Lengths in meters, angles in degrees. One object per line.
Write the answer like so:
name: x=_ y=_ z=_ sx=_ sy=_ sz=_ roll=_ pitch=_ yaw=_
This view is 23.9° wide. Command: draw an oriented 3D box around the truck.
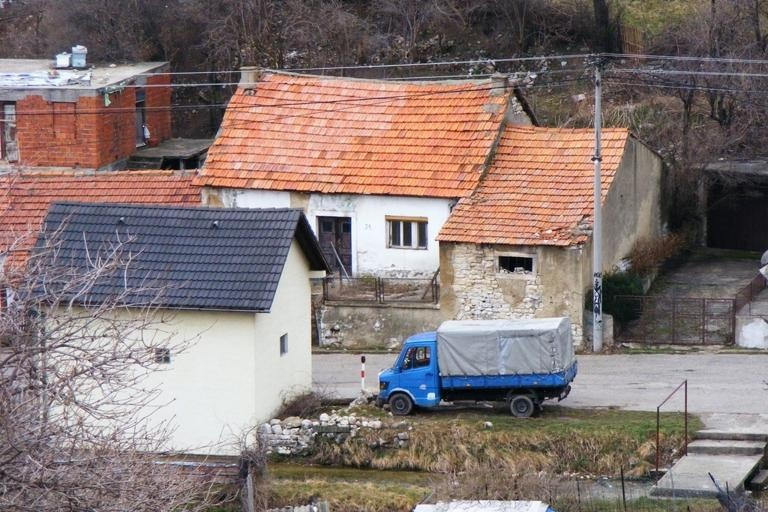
truck: x=3.396 y=3.798 z=62.014 sx=5.345 sy=2.893 sz=3.198 roll=1 pitch=3 yaw=9
